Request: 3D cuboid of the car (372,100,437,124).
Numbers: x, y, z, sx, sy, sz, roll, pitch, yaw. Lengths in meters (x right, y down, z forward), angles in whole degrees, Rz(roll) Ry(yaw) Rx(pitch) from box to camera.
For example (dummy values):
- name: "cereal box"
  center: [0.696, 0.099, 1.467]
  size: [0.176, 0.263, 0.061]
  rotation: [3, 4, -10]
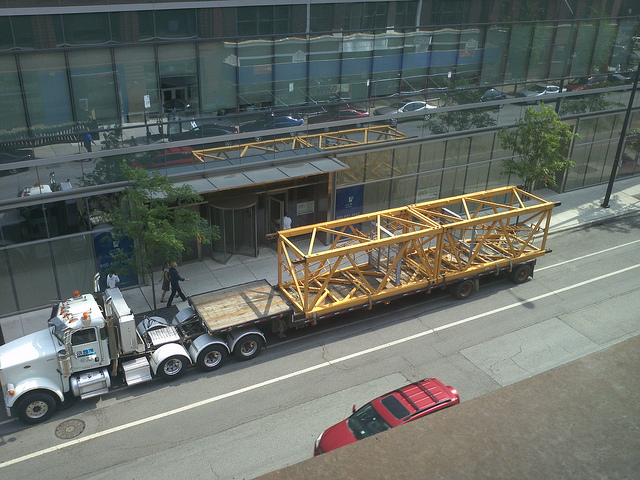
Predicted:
- name: "car"
  center: [3.809, -5.869, 26.610]
  size: [2.769, 0.620, 1.051]
  rotation: [-8, 38, -19]

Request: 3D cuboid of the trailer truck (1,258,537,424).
- name: "trailer truck"
  center: [-5.115, 3.617, 17.730]
  size: [12.210, 3.860, 4.084]
  rotation: [-6, 20, -22]

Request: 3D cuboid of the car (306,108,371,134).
- name: "car"
  center: [0.792, -5.240, 25.363]
  size: [2.818, 0.660, 0.991]
  rotation: [-4, 30, -11]

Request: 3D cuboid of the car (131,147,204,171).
- name: "car"
  center: [-6.042, -3.051, 22.079]
  size: [2.351, 0.623, 0.833]
  rotation: [-7, 44, -21]

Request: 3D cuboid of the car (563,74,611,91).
- name: "car"
  center: [14.402, -8.518, 31.155]
  size: [2.809, 0.659, 1.044]
  rotation: [-8, 23, -17]

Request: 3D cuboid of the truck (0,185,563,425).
- name: "truck"
  center: [-1.708, 2.172, 19.097]
  size: [23.347, 3.071, 4.054]
  rotation: [-10, 27, -26]
